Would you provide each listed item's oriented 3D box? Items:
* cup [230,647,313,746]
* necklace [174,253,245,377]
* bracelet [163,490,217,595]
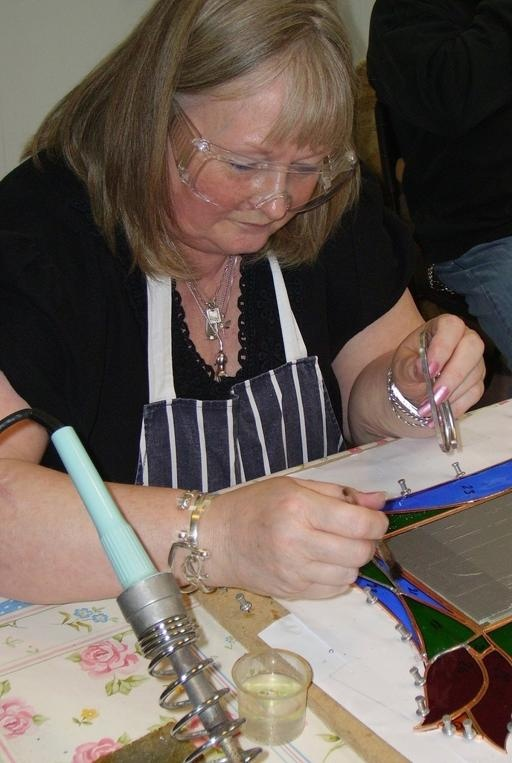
[{"bbox_3d":[0.014,0.259,0.540,0.071,0.051,0.070,-1,33,1],"label":"cup"},{"bbox_3d":[-0.070,-0.116,1.106,0.089,0.226,0.034,-8,-10,-13],"label":"necklace"},{"bbox_3d":[-0.058,0.166,0.678,0.035,0.087,0.066,1,-10,1],"label":"bracelet"}]
